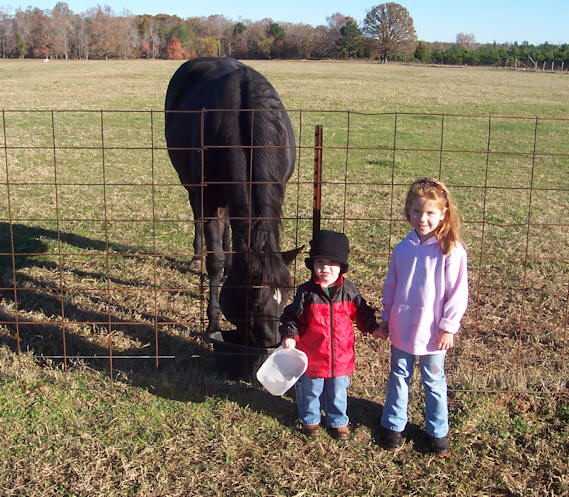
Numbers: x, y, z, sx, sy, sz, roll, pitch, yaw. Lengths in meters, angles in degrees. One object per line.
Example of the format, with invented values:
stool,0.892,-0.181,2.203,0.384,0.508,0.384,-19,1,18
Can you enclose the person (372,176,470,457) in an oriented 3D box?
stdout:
person,1.035,0.484,5.174,0.611,1.995,0.512,5,12,9

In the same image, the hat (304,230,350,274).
hat,0.332,-0.012,5.217,0.337,0.306,0.414,7,18,0

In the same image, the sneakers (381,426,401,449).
sneakers,0.808,1.441,5.236,0.151,0.173,0.098,-2,0,29

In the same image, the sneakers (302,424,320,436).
sneakers,0.200,1.385,5.255,0.056,0.071,0.133,0,-1,-42

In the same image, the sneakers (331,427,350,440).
sneakers,0.429,1.408,5.249,0.137,0.068,0.071,-5,5,41

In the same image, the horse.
horse,-0.589,-0.511,6.669,1.114,2.556,3.556,1,13,-10

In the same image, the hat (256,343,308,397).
hat,-0.016,0.900,5.095,0.375,0.361,0.201,1,12,-10
